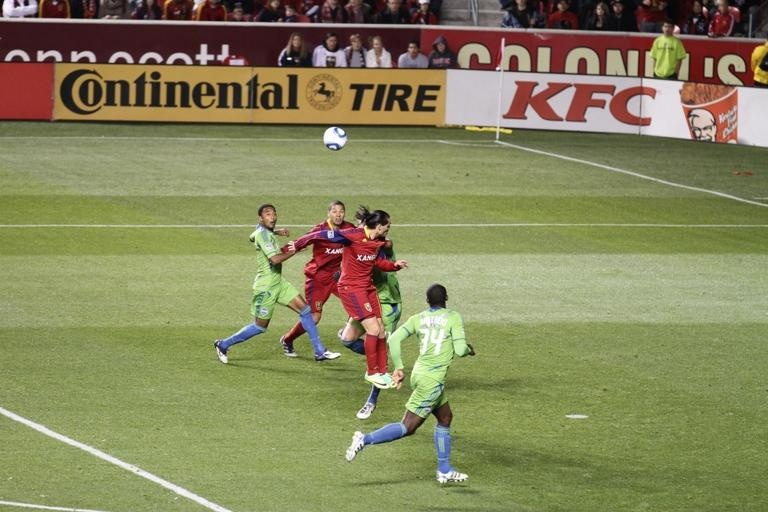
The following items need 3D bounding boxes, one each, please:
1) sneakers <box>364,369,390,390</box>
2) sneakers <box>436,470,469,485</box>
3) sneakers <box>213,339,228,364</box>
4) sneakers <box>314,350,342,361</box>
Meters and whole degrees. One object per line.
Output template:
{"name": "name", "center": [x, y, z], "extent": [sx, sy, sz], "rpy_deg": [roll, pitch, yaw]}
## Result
{"name": "sneakers", "center": [-0.080, 2.274, 30.201], "extent": [0.431, 0.177, 0.257], "rpy_deg": [7, 13, 34]}
{"name": "sneakers", "center": [1.160, 3.856, 28.972], "extent": [0.630, 0.273, 0.212], "rpy_deg": [-3, 17, -7]}
{"name": "sneakers", "center": [-3.165, 1.863, 31.982], "extent": [0.273, 0.499, 0.190], "rpy_deg": [-10, 10, 14]}
{"name": "sneakers", "center": [-1.118, 1.938, 32.069], "extent": [0.553, 0.249, 0.193], "rpy_deg": [-6, -1, 1]}
